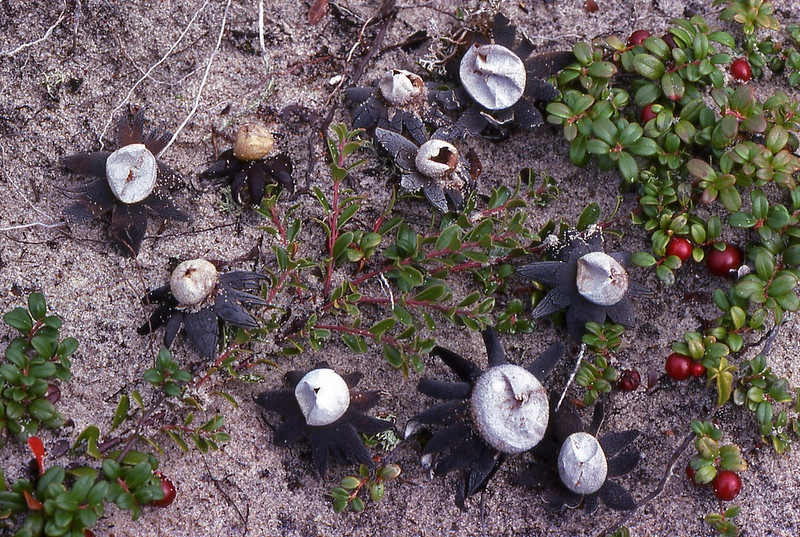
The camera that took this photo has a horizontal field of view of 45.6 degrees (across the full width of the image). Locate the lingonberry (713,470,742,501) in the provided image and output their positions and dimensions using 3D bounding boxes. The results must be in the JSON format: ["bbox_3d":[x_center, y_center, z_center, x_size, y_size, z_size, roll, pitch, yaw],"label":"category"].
[{"bbox_3d":[1.372,0.915,4.019,0.104,0.114,0.149,7,94,19],"label":"lingonberry"}]

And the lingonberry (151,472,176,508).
[{"bbox_3d":[-0.955,0.903,3.901,0.092,0.154,0.113,12,53,-9],"label":"lingonberry"}]

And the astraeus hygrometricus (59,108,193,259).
[{"bbox_3d":[-1.175,-0.339,4.051,0.518,0.170,0.639,16,89,-7],"label":"astraeus hygrometricus"}]

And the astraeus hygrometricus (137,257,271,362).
[{"bbox_3d":[-0.827,0.179,4.007,0.513,0.332,0.389,14,54,-11],"label":"astraeus hygrometricus"}]

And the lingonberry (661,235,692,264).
[{"bbox_3d":[1.195,-0.089,4.156,0.091,0.116,0.108,23,100,-16],"label":"lingonberry"}]

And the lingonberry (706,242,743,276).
[{"bbox_3d":[1.399,-0.036,4.134,0.135,0.091,0.106,7,56,-15],"label":"lingonberry"}]

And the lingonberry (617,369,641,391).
[{"bbox_3d":[0.993,0.486,4.142,0.109,0.077,0.078,8,55,-14],"label":"lingonberry"}]

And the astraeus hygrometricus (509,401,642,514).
[{"bbox_3d":[0.748,0.816,3.951,0.383,0.164,0.510,10,90,6],"label":"astraeus hygrometricus"}]

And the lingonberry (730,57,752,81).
[{"bbox_3d":[1.484,-0.872,4.175,0.067,0.107,0.076,-21,19,7],"label":"lingonberry"}]

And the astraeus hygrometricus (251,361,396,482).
[{"bbox_3d":[-0.330,0.618,3.927,0.366,0.484,0.595,3,91,6],"label":"astraeus hygrometricus"}]

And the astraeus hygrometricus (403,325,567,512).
[{"bbox_3d":[0.334,0.607,3.996,0.579,0.491,0.657,22,54,-4],"label":"astraeus hygrometricus"}]

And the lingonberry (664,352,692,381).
[{"bbox_3d":[1.181,0.420,4.096,0.092,0.135,0.110,0,40,7],"label":"lingonberry"}]
